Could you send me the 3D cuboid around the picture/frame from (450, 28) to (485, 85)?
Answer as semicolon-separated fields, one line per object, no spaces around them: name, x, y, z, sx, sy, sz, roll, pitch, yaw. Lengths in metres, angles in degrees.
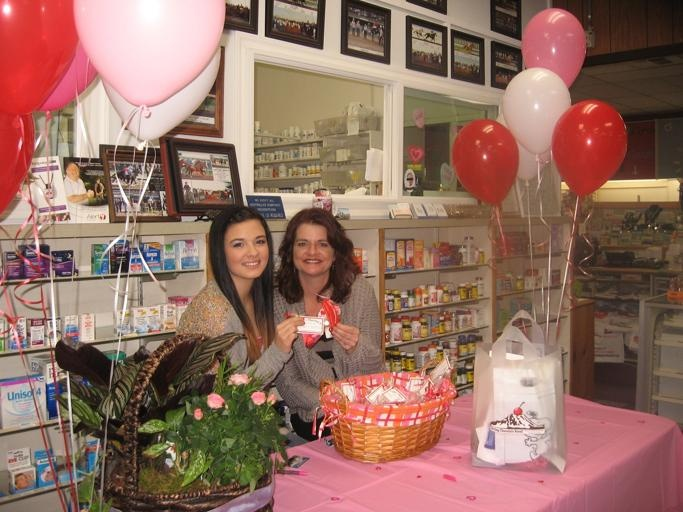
picture/frame;1.218;-1.897;4.749;0.507;0.446;0.060;-3;13;-37

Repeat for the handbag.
handbag;0.619;0.454;1.768;0.313;0.592;0.200;-1;17;21

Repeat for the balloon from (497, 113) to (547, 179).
balloon;1.375;-0.743;3.730;0.384;0.555;0.312;13;28;21

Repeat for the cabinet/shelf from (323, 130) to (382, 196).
cabinet/shelf;0.084;-0.898;4.634;0.452;0.568;1.206;4;13;-8

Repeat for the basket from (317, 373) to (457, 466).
basket;0.171;0.543;1.803;0.388;0.219;0.302;2;-3;-34

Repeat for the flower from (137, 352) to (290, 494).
flower;-0.344;0.428;1.385;0.286;0.274;0.312;4;4;-13

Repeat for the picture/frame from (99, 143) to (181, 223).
picture/frame;-1.134;-0.392;2.739;0.038;0.543;0.486;-21;-16;37

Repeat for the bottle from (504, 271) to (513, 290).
bottle;1.695;0.234;5.010;0.097;0.144;0.309;10;13;20

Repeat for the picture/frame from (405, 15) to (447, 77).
picture/frame;0.726;-1.859;4.358;0.558;0.532;0.039;-3;1;-44

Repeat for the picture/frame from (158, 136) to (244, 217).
picture/frame;-0.871;-0.473;2.986;0.048;0.485;0.507;-14;-7;37

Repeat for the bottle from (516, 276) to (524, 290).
bottle;1.818;0.269;5.060;0.037;0.131;0.120;-2;-1;34

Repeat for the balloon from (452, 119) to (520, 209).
balloon;1.264;-0.650;3.876;0.584;0.410;0.521;-11;18;5

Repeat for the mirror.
mirror;0.798;-0.839;4.068;0.033;0.699;0.866;-1;2;43
